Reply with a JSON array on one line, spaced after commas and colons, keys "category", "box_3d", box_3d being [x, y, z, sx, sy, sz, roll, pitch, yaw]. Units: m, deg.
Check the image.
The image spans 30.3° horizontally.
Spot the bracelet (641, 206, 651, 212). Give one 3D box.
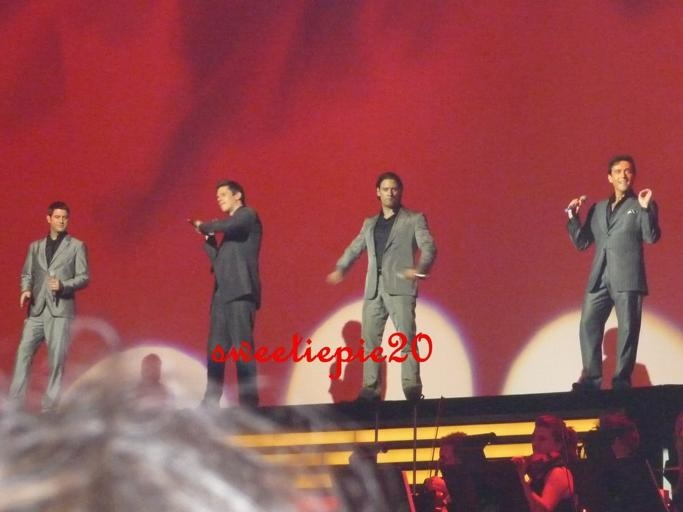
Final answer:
[{"category": "bracelet", "box_3d": [3.844, -0.622, 15.823, 0.122, 0.065, 0.048, -7, -29, 9]}]

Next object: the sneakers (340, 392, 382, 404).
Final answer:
[{"category": "sneakers", "box_3d": [0.252, 1.754, 15.604, 0.500, 0.225, 0.184, 3, -24, 1]}]

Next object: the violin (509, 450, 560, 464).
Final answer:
[{"category": "violin", "box_3d": [2.133, 2.161, 13.535, 0.278, 0.100, 0.242, -13, -13, 19]}]

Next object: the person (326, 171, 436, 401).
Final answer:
[{"category": "person", "box_3d": [0.635, 0.446, 16.009, 0.865, 3.057, 1.203, 21, -35, -37]}]

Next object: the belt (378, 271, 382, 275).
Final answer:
[{"category": "belt", "box_3d": [0.499, 0.194, 16.101, 0.041, 0.047, 0.079, 6, 6, -1]}]

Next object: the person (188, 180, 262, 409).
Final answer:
[{"category": "person", "box_3d": [-1.397, 0.459, 16.059, 0.746, 2.771, 1.026, 1, -28, -5]}]
